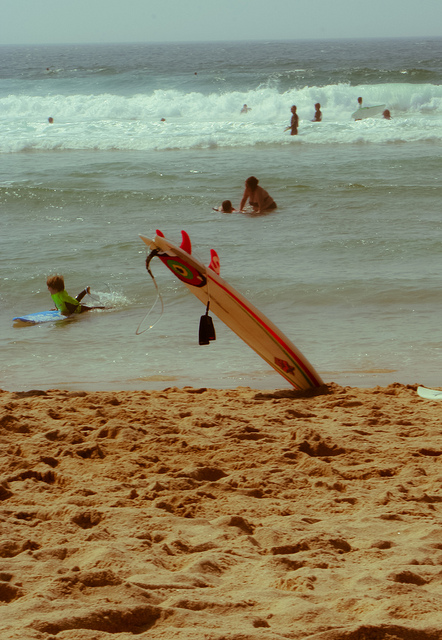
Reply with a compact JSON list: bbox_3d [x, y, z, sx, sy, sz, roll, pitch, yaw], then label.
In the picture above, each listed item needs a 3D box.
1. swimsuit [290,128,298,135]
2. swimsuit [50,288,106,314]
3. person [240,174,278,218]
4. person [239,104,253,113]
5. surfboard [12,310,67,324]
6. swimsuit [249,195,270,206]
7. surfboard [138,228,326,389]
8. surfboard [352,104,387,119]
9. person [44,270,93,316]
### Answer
[{"bbox_3d":[2.368,-5.963,23.839,0.169,0.186,0.255,-1,9,-2],"label":"swimsuit"},{"bbox_3d":[-1.731,-0.212,8.980,0.426,0.152,0.287,7,-30,-22],"label":"swimsuit"},{"bbox_3d":[0.677,-2.270,13.807,0.457,0.636,0.628,5,11,30],"label":"person"},{"bbox_3d":[1.092,-8.957,31.798,0.526,0.444,1.280,0,8,5],"label":"person"},{"bbox_3d":[-2.109,-0.033,8.882,0.611,0.124,0.366,-2,8,-14],"label":"surfboard"},{"bbox_3d":[0.686,-2.206,13.959,0.255,0.194,0.471,-9,12,-43],"label":"swimsuit"},{"bbox_3d":[0.139,-0.084,8.021,0.474,2.649,0.666,-48,13,23],"label":"surfboard"},{"bbox_3d":[5.580,-7.807,28.251,1.157,0.570,1.018,1,8,9],"label":"surfboard"},{"bbox_3d":[-1.859,-0.349,9.439,0.577,0.458,1.255,-2,8,-11],"label":"person"}]
